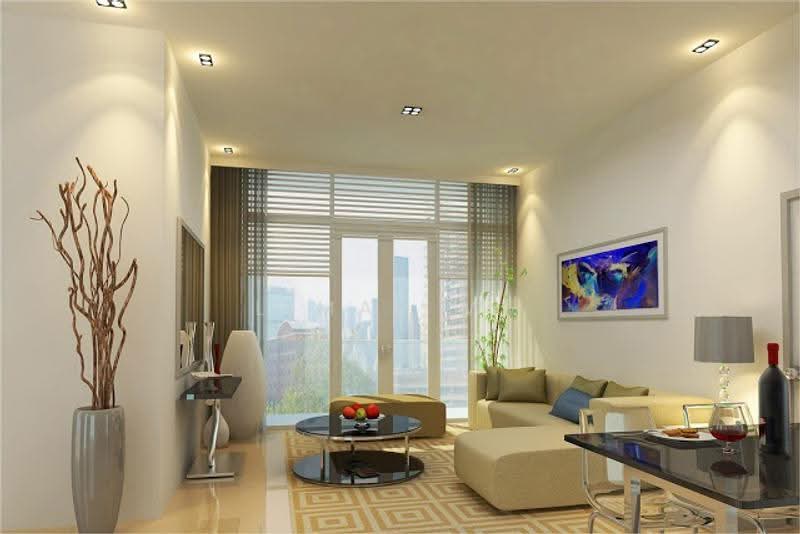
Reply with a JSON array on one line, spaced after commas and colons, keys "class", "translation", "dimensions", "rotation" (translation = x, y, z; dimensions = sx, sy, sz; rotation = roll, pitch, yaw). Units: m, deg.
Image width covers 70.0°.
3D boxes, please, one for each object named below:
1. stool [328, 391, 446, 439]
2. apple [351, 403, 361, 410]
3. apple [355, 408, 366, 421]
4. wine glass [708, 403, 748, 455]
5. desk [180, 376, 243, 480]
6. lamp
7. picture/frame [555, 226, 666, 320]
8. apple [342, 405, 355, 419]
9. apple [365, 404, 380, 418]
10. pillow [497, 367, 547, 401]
[{"class": "stool", "translation": [-0.199, 1.841, 7.693], "dimensions": [1.620, 0.553, 1.231], "rotation": [3, 7, 2]}, {"class": "apple", "translation": [-0.452, 1.462, 6.035], "dimensions": [0.073, 0.088, 0.073], "rotation": [2, -1, -38]}, {"class": "apple", "translation": [-0.397, 1.504, 5.887], "dimensions": [0.104, 0.128, 0.103], "rotation": [1, 2, 32]}, {"class": "wine glass", "translation": [1.869, 0.926, 3.291], "dimensions": [0.219, 0.295, 0.243], "rotation": [-2, 3, 31]}, {"class": "desk", "translation": [-2.010, 1.706, 6.052], "dimensions": [0.340, 0.591, 1.057], "rotation": [1, -3, -12]}, {"class": "lamp", "translation": [2.722, 0.622, 4.812], "dimensions": [0.444, 0.438, 0.323], "rotation": [2, 11, 29]}, {"class": "picture/frame", "translation": [2.328, 0.118, 6.386], "dimensions": [1.606, 0.875, 0.070], "rotation": [-7, 6, -23]}, {"class": "apple", "translation": [-0.540, 1.534, 6.101], "dimensions": [0.125, 0.118, 0.120], "rotation": [2, -4, 7]}, {"class": "apple", "translation": [-0.311, 1.534, 6.096], "dimensions": [0.156, 0.161, 0.160], "rotation": [-2, -6, 20]}, {"class": "pillow", "translation": [1.534, 1.510, 7.272], "dimensions": [0.624, 0.455, 0.225], "rotation": [0, -17, 11]}]
